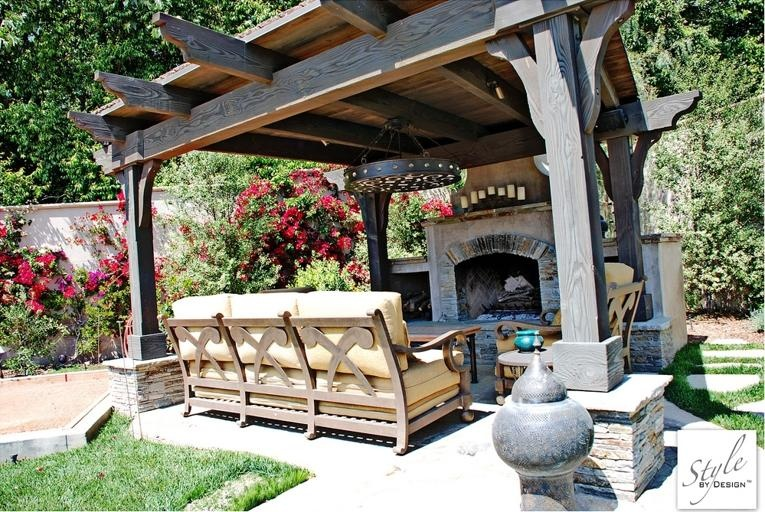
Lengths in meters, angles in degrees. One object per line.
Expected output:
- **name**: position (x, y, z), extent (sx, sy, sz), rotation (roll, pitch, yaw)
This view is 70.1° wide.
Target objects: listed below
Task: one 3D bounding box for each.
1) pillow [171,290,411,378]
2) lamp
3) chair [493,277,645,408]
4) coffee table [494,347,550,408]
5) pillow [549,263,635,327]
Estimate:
- **pillow**: position (-1.040, 0.795, 5.783), extent (2.647, 0.829, 0.402), rotation (-1, 6, 27)
- **lamp**: position (0.313, -1.296, 6.383), extent (1.166, 0.677, 1.186), rotation (-4, -2, 42)
- **chair**: position (2.173, 1.012, 6.518), extent (1.889, 1.768, 1.327), rotation (11, -16, -41)
- **coffee table**: position (1.728, 1.427, 6.499), extent (0.914, 0.513, 0.862), rotation (-3, -15, -7)
- **pillow**: position (2.588, 0.459, 6.807), extent (0.874, 1.057, 0.901), rotation (4, -1, 17)
